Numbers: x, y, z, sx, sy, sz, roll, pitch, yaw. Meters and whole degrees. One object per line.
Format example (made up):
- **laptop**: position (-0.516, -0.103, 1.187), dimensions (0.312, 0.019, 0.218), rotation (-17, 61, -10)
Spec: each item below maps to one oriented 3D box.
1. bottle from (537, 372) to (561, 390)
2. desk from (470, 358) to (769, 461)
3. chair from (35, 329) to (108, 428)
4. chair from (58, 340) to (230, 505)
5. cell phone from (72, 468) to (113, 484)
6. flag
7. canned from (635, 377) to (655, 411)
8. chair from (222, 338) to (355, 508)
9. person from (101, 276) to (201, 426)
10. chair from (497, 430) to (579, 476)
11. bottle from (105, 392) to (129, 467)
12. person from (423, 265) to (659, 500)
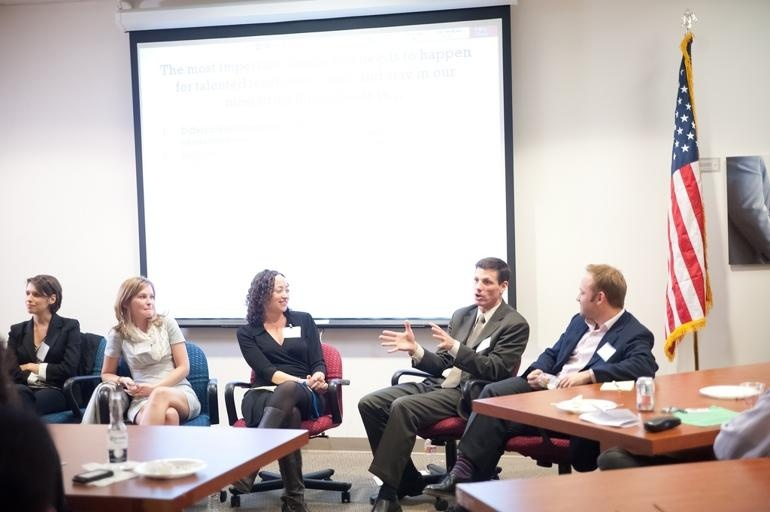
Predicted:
- **bottle**: position (1.029, 0.798, 3.872), dimensions (0.166, 0.105, 0.101), rotation (9, -7, 19)
- **desk**: position (1.444, 0.911, 3.315), dimensions (1.688, 0.312, 0.889), rotation (-5, 2, -18)
- **chair**: position (-2.326, 0.946, 4.708), dimensions (0.436, 0.658, 0.555), rotation (-3, -7, 32)
- **chair**: position (-1.634, 1.034, 4.531), dimensions (0.702, 0.829, 0.731), rotation (-2, -9, -7)
- **cell phone**: position (-1.281, 0.972, 2.683), dimensions (0.151, 0.048, 0.114), rotation (-5, 2, -41)
- **flag**: position (2.350, -0.468, 4.829), dimensions (0.343, 2.569, 0.335), rotation (-3, 3, 20)
- **canned**: position (1.369, 0.725, 3.207), dimensions (0.103, 0.168, 0.101), rotation (-3, 5, 37)
- **chair**: position (-0.732, 1.295, 4.740), dimensions (0.972, 1.212, 1.013), rotation (-2, -8, 10)
- **person**: position (-1.711, 0.690, 4.498), dimensions (0.614, 0.812, 0.751), rotation (-6, 3, -38)
- **chair**: position (0.966, 1.191, 3.849), dimensions (0.287, 0.308, 0.303), rotation (3, -4, 5)
- **bottle**: position (-1.280, 0.809, 2.897), dimensions (0.088, 0.265, 0.277), rotation (-5, 3, -26)
- **person**: position (1.027, 0.815, 3.985), dimensions (1.354, 1.579, 0.953), rotation (9, -6, -20)
